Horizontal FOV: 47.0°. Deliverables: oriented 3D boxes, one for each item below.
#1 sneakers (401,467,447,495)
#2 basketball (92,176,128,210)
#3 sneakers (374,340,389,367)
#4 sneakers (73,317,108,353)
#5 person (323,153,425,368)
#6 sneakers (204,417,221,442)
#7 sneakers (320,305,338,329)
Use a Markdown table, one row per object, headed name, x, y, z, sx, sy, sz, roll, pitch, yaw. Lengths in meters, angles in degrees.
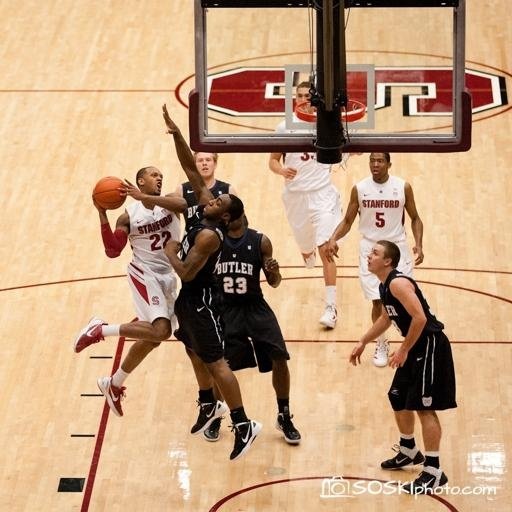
| name | x | y | z | sx | sy | sz | roll | pitch | yaw |
| --- | --- | --- | --- | --- | --- | --- | --- | --- | --- |
| sneakers | 1.070 | 1.515 | 3.944 | 0.375 | 0.163 | 0.137 | -6 | 27 | 2 |
| basketball | -0.994 | -0.415 | 3.987 | 0.226 | 0.270 | 0.223 | 2 | 4 | -29 |
| sneakers | 1.099 | 0.864 | 5.192 | 0.094 | 0.123 | 0.285 | 1 | 32 | 8 |
| sneakers | -1.176 | 0.550 | 4.196 | 0.252 | 0.154 | 0.184 | -18 | 41 | -10 |
| person | 1.144 | 0.033 | 5.341 | 0.817 | 1.955 | 0.580 | -1 | 8 | 20 |
| sneakers | -0.332 | 1.365 | 4.618 | 0.083 | 0.106 | 0.246 | 18 | 14 | -5 |
| sneakers | 0.689 | 0.580 | 5.591 | 0.102 | 0.147 | 0.305 | 7 | 10 | 8 |
